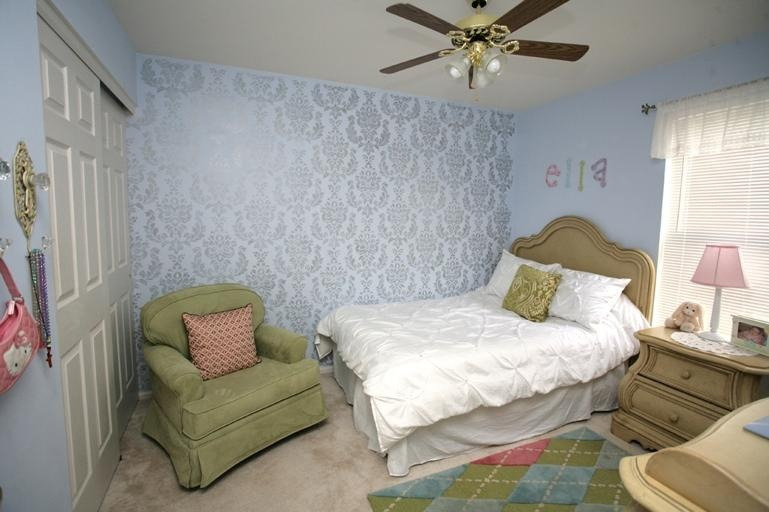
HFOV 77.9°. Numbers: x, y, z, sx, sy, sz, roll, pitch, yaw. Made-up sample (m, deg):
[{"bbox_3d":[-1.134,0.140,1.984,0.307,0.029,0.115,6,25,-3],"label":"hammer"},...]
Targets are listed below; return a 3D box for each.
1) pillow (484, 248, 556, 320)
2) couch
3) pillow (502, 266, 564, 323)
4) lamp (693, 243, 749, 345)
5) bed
[{"bbox_3d":[1.298,0.293,4.424,0.166,0.558,0.579,23,2,-25],"label":"pillow"},{"bbox_3d":[-1.215,0.973,4.070,1.511,1.368,1.368,-6,6,-43],"label":"couch"},{"bbox_3d":[1.377,0.380,4.396,0.146,0.481,0.480,28,-3,-33],"label":"pillow"},{"bbox_3d":[2.550,0.278,3.606,0.413,0.714,0.275,-1,11,-21],"label":"lamp"},{"bbox_3d":[0.839,0.644,4.431,2.518,1.725,1.964,-4,8,-19],"label":"bed"}]
